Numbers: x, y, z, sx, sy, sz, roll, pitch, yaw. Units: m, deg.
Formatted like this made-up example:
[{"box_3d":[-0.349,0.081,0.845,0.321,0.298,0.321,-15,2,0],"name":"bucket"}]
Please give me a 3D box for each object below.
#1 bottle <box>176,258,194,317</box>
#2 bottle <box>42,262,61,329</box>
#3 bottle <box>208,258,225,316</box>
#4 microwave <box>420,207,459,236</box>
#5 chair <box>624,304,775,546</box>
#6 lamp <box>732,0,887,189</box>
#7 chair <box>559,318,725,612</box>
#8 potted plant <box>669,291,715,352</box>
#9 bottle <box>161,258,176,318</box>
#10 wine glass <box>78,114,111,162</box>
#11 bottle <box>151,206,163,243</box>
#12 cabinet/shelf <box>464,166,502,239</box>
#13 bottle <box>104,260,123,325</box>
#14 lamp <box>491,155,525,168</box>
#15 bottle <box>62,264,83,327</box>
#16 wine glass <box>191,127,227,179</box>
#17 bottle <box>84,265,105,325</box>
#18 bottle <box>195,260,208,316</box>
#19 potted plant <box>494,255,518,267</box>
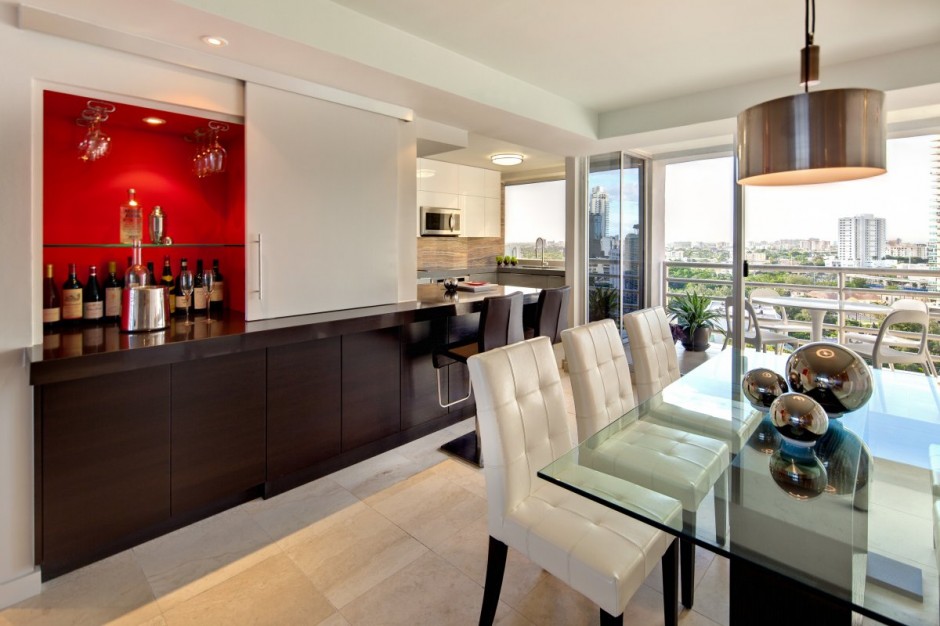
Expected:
[{"box_3d":[-1.899,-0.160,4.152,0.120,0.375,0.446,-6,8,-26],"name":"bottle"},{"box_3d":[-2.508,-0.100,3.745,0.089,0.362,0.213,-7,8,-29],"name":"bottle"},{"box_3d":[-1.753,-0.181,4.345,0.104,0.369,0.332,-5,8,-20],"name":"bottle"},{"box_3d":[-0.384,-1.093,7.704,0.517,0.339,0.330,-5,7,-44],"name":"microwave"},{"box_3d":[1.319,0.605,3.728,0.793,1.126,1.191,7,5,21],"name":"chair"},{"box_3d":[1.569,-0.799,2.910,0.604,0.403,0.348,0,8,22],"name":"lamp"},{"box_3d":[0.910,0.692,3.230,0.801,1.201,0.767,6,10,26],"name":"chair"},{"box_3d":[2.408,0.087,6.870,0.600,0.580,0.558,1,5,25],"name":"potted plant"},{"box_3d":[-1.951,-0.160,4.054,0.088,0.387,0.570,-6,8,-25],"name":"bottle"},{"box_3d":[-2.138,-1.002,3.555,0.138,0.235,0.151,-7,8,-30],"name":"wine glass"},{"box_3d":[-1.948,-0.541,3.916,0.063,0.209,0.121,-3,7,-5],"name":"bottle"},{"box_3d":[0.028,-1.446,8.498,0.492,0.886,0.939,3,6,37],"name":"cabinet/shelf"},{"box_3d":[-2.259,-0.139,3.963,0.117,0.369,0.226,-7,8,-28],"name":"bottle"},{"box_3d":[0.420,-1.787,7.308,0.342,0.096,0.518,-3,8,-3],"name":"lamp"},{"box_3d":[-2.416,-0.120,3.801,0.106,0.338,0.130,-6,8,-24],"name":"bottle"},{"box_3d":[-1.693,-1.043,4.046,0.137,0.321,0.342,1,0,-34],"name":"wine glass"},{"box_3d":[-2.345,-0.118,3.895,0.133,0.335,0.114,-10,10,-44],"name":"bottle"},{"box_3d":[-1.831,-0.175,4.259,0.103,0.356,0.233,-6,8,-24],"name":"bottle"},{"box_3d":[0.501,-0.709,8.698,0.161,0.113,0.211,-2,6,-25],"name":"potted plant"}]
